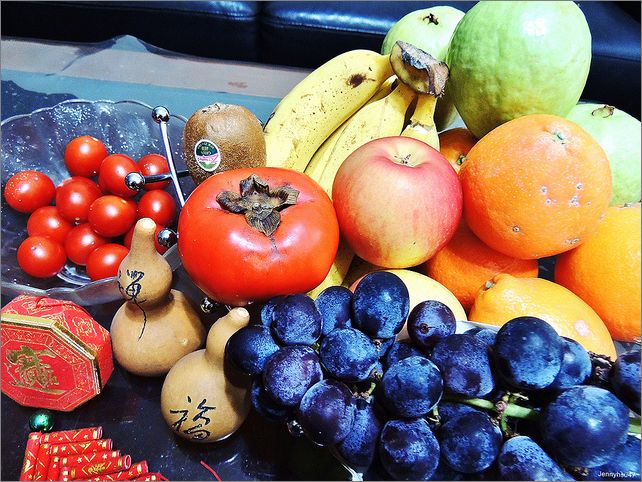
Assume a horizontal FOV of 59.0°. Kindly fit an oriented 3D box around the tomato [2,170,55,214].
[{"bbox_3d":[-0.607,-0.103,1.169,0.089,0.085,0.069,10,35,0],"label":"tomato"}]

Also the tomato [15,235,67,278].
[{"bbox_3d":[-0.576,0.032,1.153,0.079,0.100,0.079,24,31,30],"label":"tomato"}]

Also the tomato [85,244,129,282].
[{"bbox_3d":[-0.422,0.045,1.180,0.081,0.070,0.119,-6,23,-15],"label":"tomato"}]

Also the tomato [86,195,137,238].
[{"bbox_3d":[-0.441,-0.053,1.196,0.099,0.084,0.069,-19,52,-22],"label":"tomato"}]

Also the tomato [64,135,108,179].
[{"bbox_3d":[-0.529,-0.185,1.268,0.086,0.089,0.110,-3,81,-29],"label":"tomato"}]
